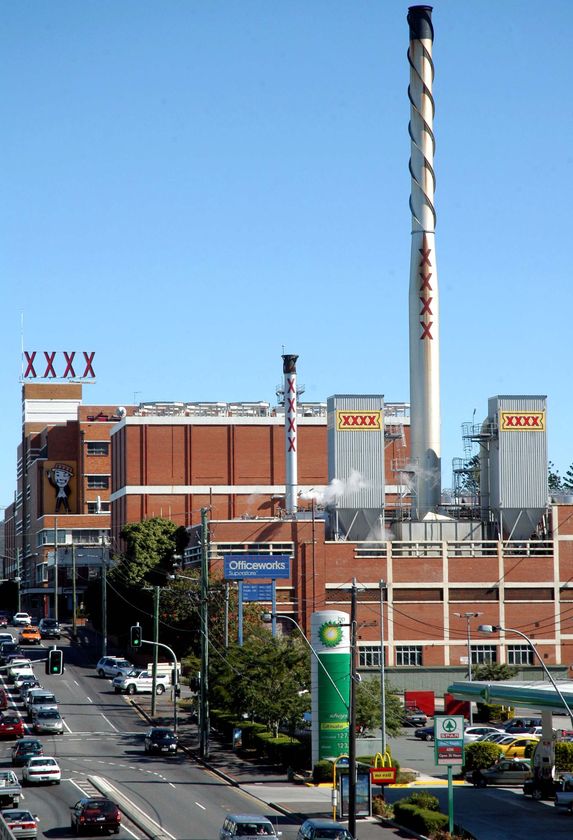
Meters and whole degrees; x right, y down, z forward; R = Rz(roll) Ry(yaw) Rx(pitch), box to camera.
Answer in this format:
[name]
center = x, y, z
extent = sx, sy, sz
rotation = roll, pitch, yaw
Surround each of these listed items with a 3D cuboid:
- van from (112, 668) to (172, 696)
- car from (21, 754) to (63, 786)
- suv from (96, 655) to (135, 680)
[van]
center = -9.515, 17.212, 115.959
extent = 3.405, 1.693, 2.211
rotation = 6, -9, -15
[car]
center = -10.485, 15.063, 75.899
extent = 1.442, 1.194, 1.883
rotation = 0, -8, -14
[suv]
center = -11.757, 16.863, 121.190
extent = 1.238, 1.420, 2.781
rotation = 2, -11, -29
